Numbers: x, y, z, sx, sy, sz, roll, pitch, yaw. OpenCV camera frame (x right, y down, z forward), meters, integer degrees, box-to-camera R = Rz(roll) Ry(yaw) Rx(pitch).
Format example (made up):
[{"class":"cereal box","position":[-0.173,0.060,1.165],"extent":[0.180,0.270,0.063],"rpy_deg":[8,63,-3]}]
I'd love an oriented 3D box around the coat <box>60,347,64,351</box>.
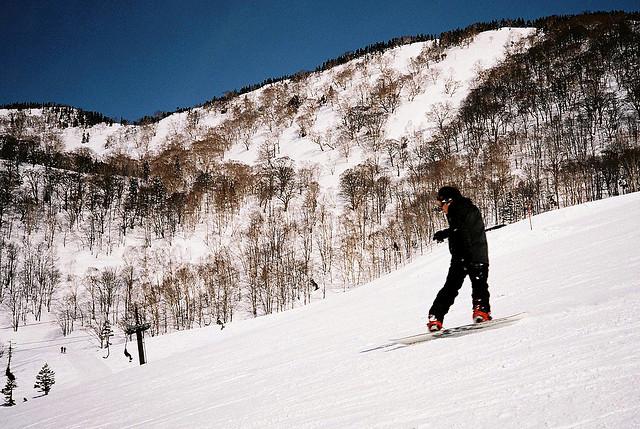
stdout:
[{"class":"coat","position":[-53.740,27.649,143.508],"extent":[0.474,0.732,0.231],"rpy_deg":[-5,0,-4]}]
